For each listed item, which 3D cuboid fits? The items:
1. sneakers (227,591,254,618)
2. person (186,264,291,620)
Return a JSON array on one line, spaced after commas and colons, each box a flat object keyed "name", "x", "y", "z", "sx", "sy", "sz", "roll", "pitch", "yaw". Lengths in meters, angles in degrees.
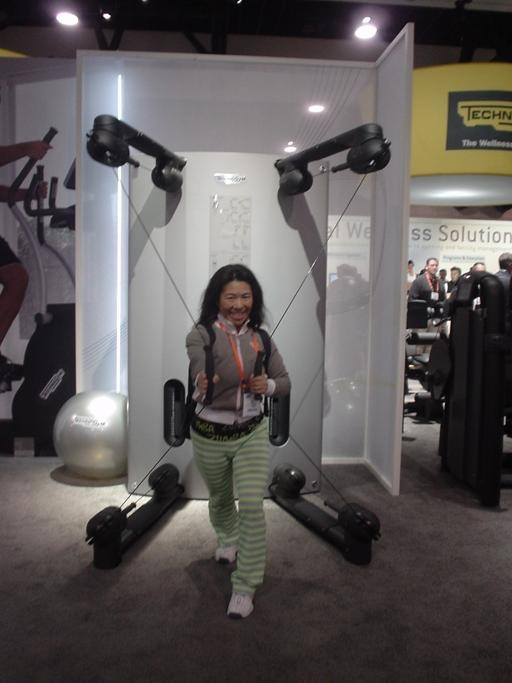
[{"name": "sneakers", "x": -0.049, "y": 0.818, "z": 1.699, "sx": 0.081, "sy": 0.053, "sz": 0.163, "roll": 1, "pitch": 3, "yaw": 0}, {"name": "person", "x": -0.069, "y": 0.304, "z": 1.892, "sx": 0.337, "sy": 1.132, "sz": 0.526, "roll": 0, "pitch": 2, "yaw": -27}]
